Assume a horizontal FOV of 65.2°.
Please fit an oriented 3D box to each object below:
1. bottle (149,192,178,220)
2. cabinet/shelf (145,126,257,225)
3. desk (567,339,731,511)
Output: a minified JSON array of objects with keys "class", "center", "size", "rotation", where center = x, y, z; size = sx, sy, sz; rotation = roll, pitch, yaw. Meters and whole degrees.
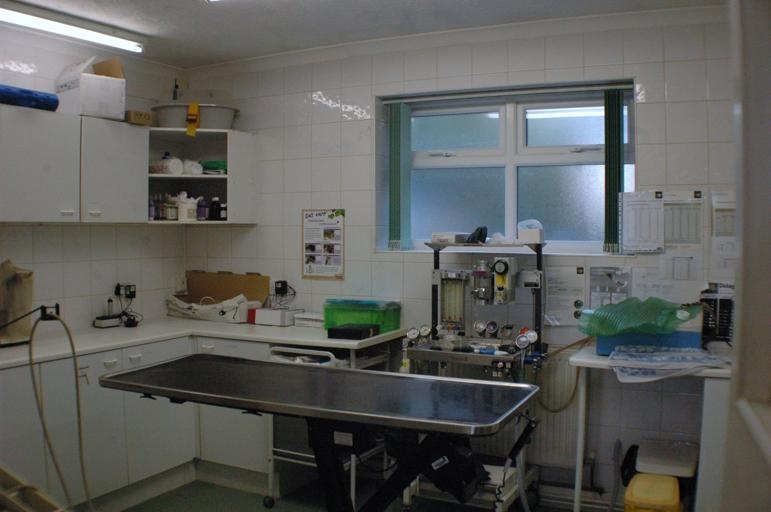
[{"class":"bottle","center":[-1.771,-0.390,4.858],"size":[0.188,0.202,0.253],"rotation":[0,4,-1]},{"class":"cabinet/shelf","center":[-1.510,-0.657,4.961],"size":[0.878,0.718,0.436],"rotation":[-1,-4,8]},{"class":"desk","center":[1.643,1.195,3.886],"size":[0.869,1.167,0.668],"rotation":[1,4,16]}]
